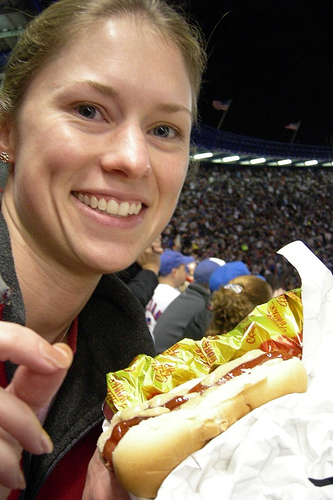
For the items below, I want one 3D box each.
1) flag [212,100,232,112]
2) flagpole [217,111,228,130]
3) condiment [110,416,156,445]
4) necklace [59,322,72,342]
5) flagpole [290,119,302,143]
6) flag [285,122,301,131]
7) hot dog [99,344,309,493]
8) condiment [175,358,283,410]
[{"bbox_3d":[1.362,-3.615,10.126,0.308,0.282,0.103,-23,0,7],"label":"flag"},{"bbox_3d":[1.378,-3.290,10.250,0.148,0.487,0.087,11,33,-2],"label":"flagpole"},{"bbox_3d":[-0.049,0.245,0.568,0.040,0.013,0.037,-16,-6,-21],"label":"condiment"},{"bbox_3d":[-0.250,0.209,0.993,0.005,0.003,0.036,3,42,51],"label":"necklace"},{"bbox_3d":[3.204,-2.967,10.133,0.087,0.591,0.079,-9,51,-22],"label":"flagpole"},{"bbox_3d":[3.101,-3.081,9.996,0.339,0.227,0.086,3,38,14],"label":"flag"},{"bbox_3d":[0.066,0.206,0.631,0.328,0.102,0.160,-24,-2,-21],"label":"hot dog"},{"bbox_3d":[0.090,0.198,0.601,0.128,0.028,0.074,-23,-1,-5],"label":"condiment"}]
